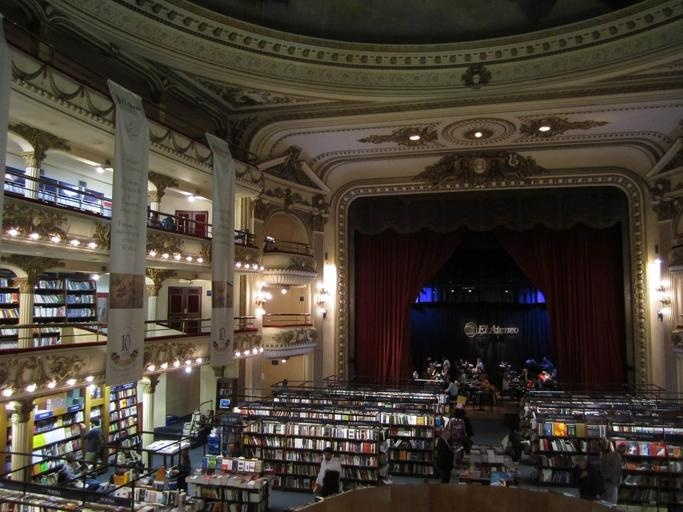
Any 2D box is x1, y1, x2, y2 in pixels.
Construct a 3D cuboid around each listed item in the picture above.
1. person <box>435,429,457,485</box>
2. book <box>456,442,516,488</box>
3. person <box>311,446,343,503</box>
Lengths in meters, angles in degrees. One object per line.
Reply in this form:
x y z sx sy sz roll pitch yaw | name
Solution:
2.287 4.397 11.763 0.315 1.107 0.824 -1 -12 12 | person
3.153 4.502 11.309 0.732 0.375 1.071 0 -3 10 | book
-0.268 4.399 10.809 0.513 0.949 0.776 2 -12 -3 | person
